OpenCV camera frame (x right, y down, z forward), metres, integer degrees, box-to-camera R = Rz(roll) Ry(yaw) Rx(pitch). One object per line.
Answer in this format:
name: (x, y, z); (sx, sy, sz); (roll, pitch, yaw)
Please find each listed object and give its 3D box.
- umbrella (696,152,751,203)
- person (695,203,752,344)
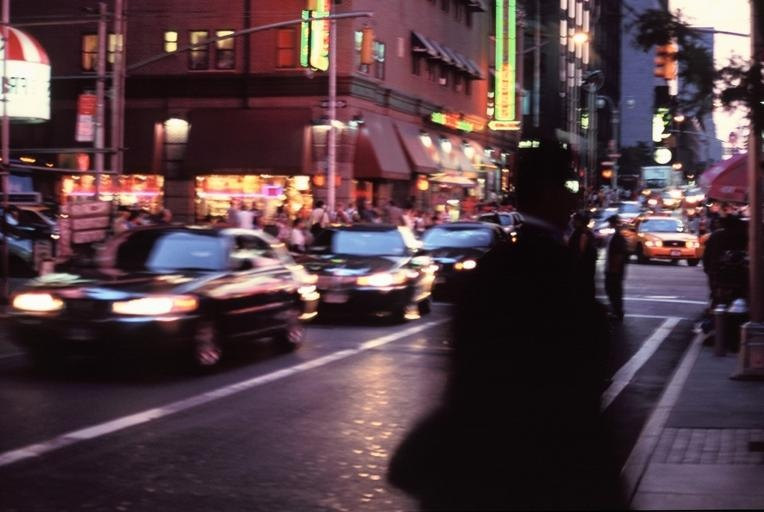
umbrella: (7.235, -1.650, 20.713); (0.973, 1.013, 2.529); (3, 6, 20)
person: (5.682, 0.226, 16.154); (0.724, 1.734, 0.513); (2, 7, 13)
